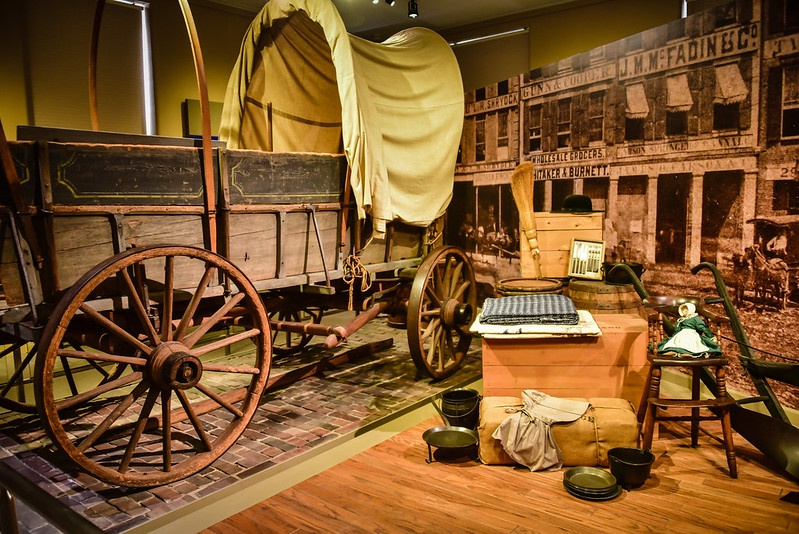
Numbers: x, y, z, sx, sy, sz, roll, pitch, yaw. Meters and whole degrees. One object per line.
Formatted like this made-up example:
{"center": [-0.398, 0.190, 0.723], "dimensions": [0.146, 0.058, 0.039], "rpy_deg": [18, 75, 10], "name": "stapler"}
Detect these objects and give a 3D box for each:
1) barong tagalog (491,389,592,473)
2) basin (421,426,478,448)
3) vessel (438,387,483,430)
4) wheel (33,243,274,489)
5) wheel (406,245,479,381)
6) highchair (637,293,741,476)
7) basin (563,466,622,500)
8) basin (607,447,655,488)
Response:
{"center": [0.957, 1.062, 3.672], "dimensions": [0.519, 0.198, 0.527], "rpy_deg": [17, 35, 41], "name": "barong tagalog"}
{"center": [0.359, 1.192, 3.782], "dimensions": [0.351, 0.105, 0.254], "rpy_deg": [-3, 7, -22], "name": "basin"}
{"center": [0.461, 1.032, 4.101], "dimensions": [0.322, 0.280, 0.278], "rpy_deg": [-1, 0, -26], "name": "vessel"}
{"center": [-1.627, 0.653, 3.574], "dimensions": [0.520, 1.550, 1.736], "rpy_deg": [1, 2, 40], "name": "wheel"}
{"center": [0.375, 0.433, 4.999], "dimensions": [0.512, 1.095, 1.205], "rpy_deg": [-2, 8, 31], "name": "wheel"}
{"center": [2.025, 0.783, 3.768], "dimensions": [0.630, 1.088, 0.905], "rpy_deg": [3, 8, 26], "name": "highchair"}
{"center": [1.217, 1.357, 3.404], "dimensions": [0.349, 0.121, 0.212], "rpy_deg": [1, 7, 9], "name": "basin"}
{"center": [1.470, 1.250, 3.448], "dimensions": [0.277, 0.164, 0.237], "rpy_deg": [-6, 9, -16], "name": "basin"}
